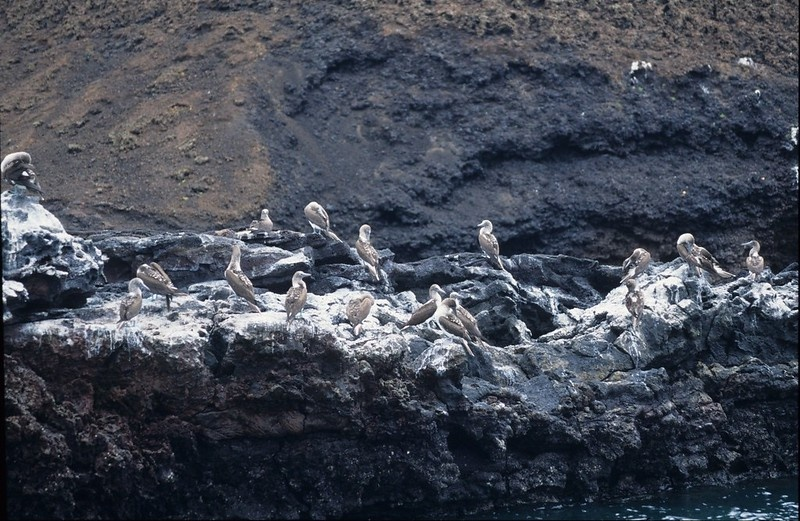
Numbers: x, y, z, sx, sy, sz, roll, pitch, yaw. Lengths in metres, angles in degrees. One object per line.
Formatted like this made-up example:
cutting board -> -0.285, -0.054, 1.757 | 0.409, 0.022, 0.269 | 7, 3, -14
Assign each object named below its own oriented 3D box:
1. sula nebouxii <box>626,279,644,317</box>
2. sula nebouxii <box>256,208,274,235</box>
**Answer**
sula nebouxii -> 5.583, 0.986, 39.704 | 0.462, 0.940, 0.585 | -11, -3, 7
sula nebouxii -> -3.292, -0.865, 42.260 | 0.388, 0.565, 0.629 | 1, -26, -7
